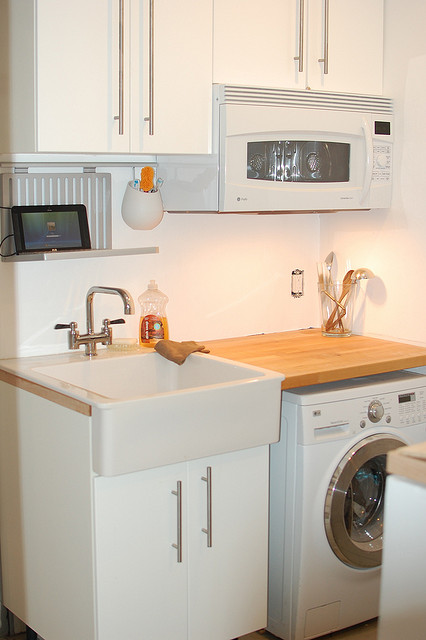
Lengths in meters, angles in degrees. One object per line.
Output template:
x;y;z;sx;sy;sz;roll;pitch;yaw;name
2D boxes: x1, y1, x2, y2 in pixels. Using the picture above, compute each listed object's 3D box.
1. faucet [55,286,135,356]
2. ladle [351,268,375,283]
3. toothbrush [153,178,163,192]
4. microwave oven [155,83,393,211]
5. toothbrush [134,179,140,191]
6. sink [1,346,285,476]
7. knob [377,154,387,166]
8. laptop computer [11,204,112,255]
-0.372;0.003;1.795;0.282;0.242;0.350;1;6;8;faucet
0.678;-0.203;2.315;0.103;0.064;0.096;2;6;16;ladle
-0.193;-0.485;1.841;0.030;0.049;0.025;-5;8;-43;toothbrush
0.353;-0.650;2.169;0.709;0.447;0.470;-1;4;-12;microwave oven
-0.273;-0.488;1.842;0.019;0.037;0.013;0;6;-3;toothbrush
-0.209;0.251;1.572;0.660;0.214;0.606;-4;8;-36;sink
0.706;-0.670;2.145;0.038;0.045;0.012;-10;7;-31;knob
-0.543;-0.310;1.730;0.288;0.179;0.099;-9;16;-44;laptop computer
